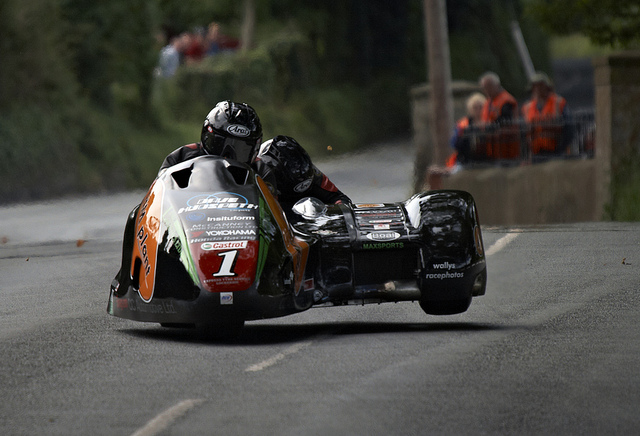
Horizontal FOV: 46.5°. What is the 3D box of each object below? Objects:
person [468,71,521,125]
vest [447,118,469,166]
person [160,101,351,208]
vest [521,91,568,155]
[{"bbox_3d":[3.624,-2.454,15.615,0.710,1.111,1.221,-28,25,-9],"label":"person"},{"bbox_3d":[2.953,-1.632,16.029,0.408,1.002,1.934,-1,5,8],"label":"vest"},{"bbox_3d":[-0.586,-0.588,7.322,1.113,0.651,1.563,10,9,-27],"label":"person"},{"bbox_3d":[4.458,-1.931,14.956,0.773,1.276,2.143,0,5,17],"label":"vest"}]
